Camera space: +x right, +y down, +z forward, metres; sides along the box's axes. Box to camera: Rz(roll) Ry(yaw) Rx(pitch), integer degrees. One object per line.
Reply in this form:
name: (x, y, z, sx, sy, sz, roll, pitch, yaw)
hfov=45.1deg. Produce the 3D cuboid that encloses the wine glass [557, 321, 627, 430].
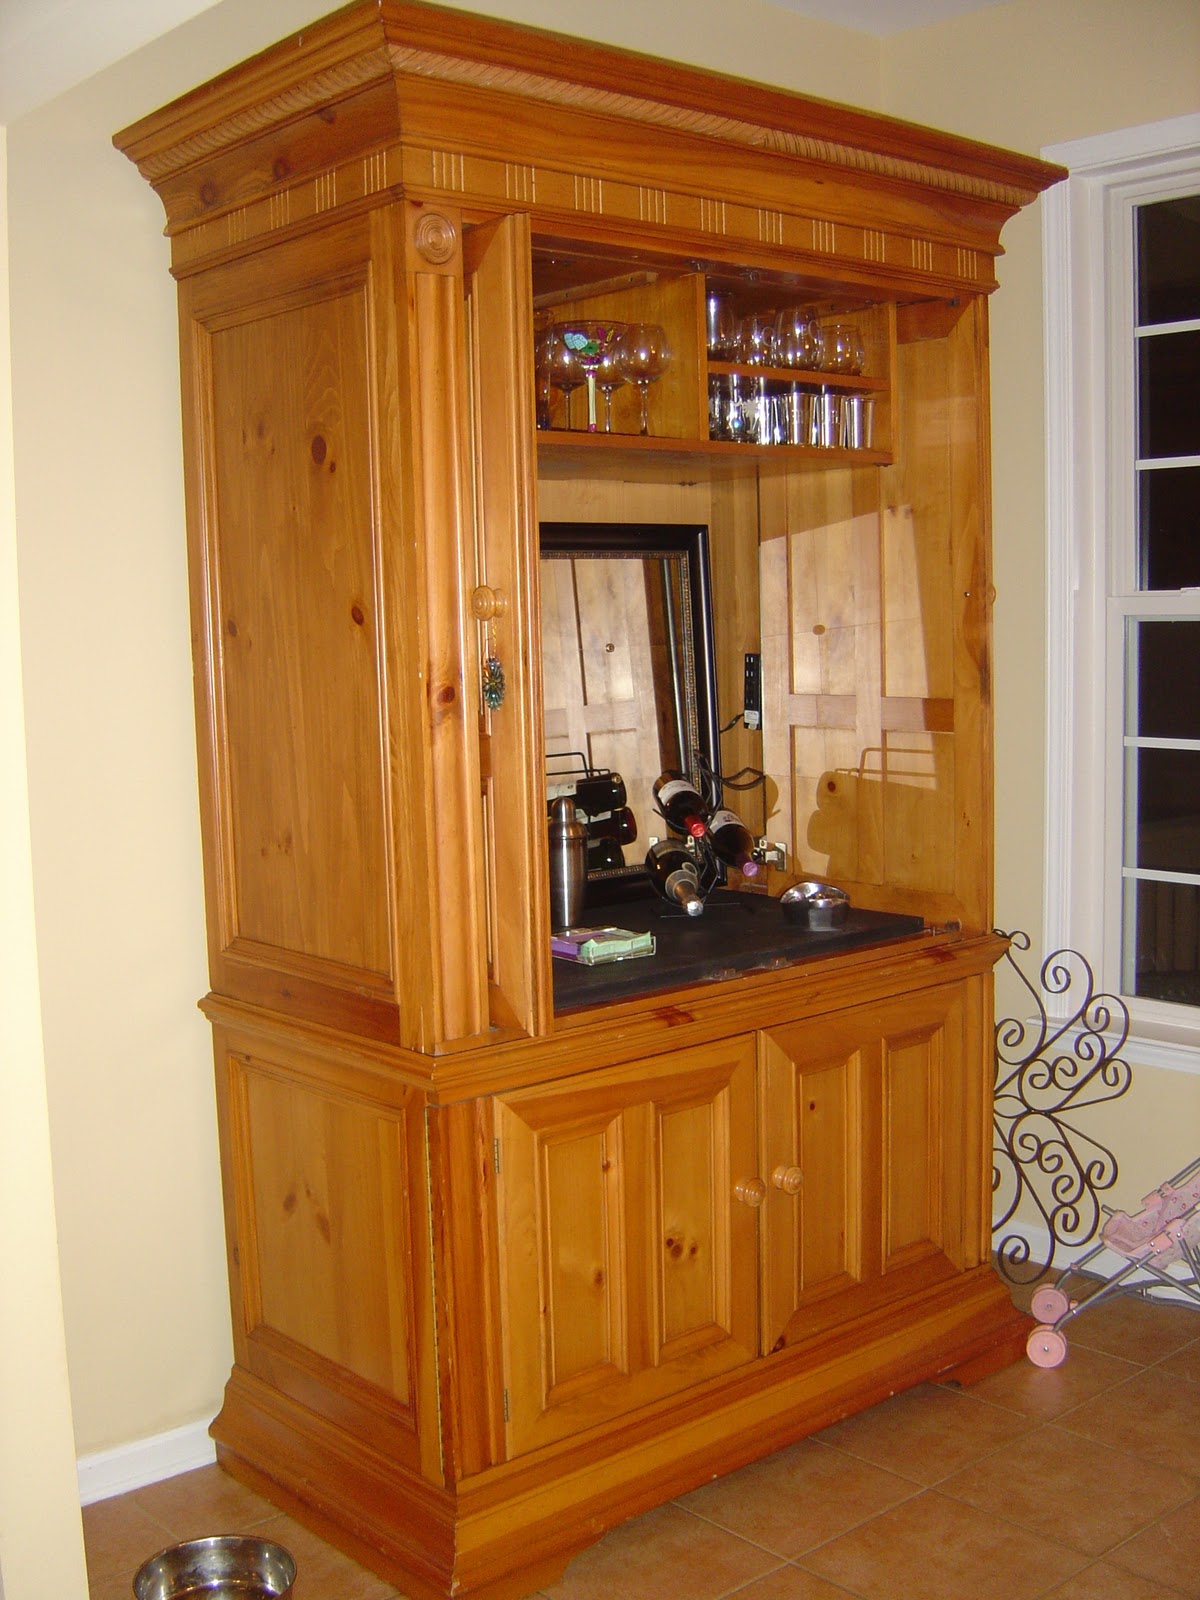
wine glass: (-0.017, -0.686, 2.390, 0.131, 0.189, 0.125, 16, 27, 38)

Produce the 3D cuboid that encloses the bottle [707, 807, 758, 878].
bottle: (0.271, 0.095, 2.982, 0.052, 0.051, 0.143, -26, 13, 9)

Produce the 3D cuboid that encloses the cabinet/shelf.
cabinet/shelf: (0.030, -0.008, 2.584, 1.553, 2.317, 0.890, -4, 4, -44)
